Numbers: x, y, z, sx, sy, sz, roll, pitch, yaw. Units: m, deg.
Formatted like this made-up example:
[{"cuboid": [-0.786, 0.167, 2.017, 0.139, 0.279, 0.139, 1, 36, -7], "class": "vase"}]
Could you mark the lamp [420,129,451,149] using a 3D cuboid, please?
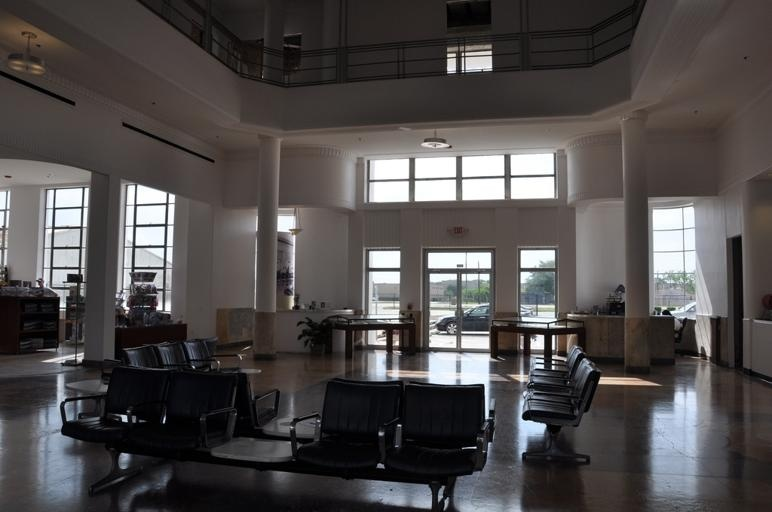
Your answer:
[{"cuboid": [1.369, -3.290, 15.734, 0.638, 0.609, 0.623, 4, -6, -21], "class": "lamp"}]

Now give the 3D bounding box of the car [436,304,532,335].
[{"cuboid": [3.025, 2.009, 18.557, 2.649, 0.827, 1.103, 1, -4, 5], "class": "car"}]

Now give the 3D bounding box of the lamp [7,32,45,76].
[{"cuboid": [-7.264, -4.109, 11.511, 0.638, 0.679, 0.636, -9, -14, 23], "class": "lamp"}]

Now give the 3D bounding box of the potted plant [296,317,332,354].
[{"cuboid": [-2.208, 2.426, 17.583, 1.107, 0.744, 1.084, 1, -3, 1], "class": "potted plant"}]
